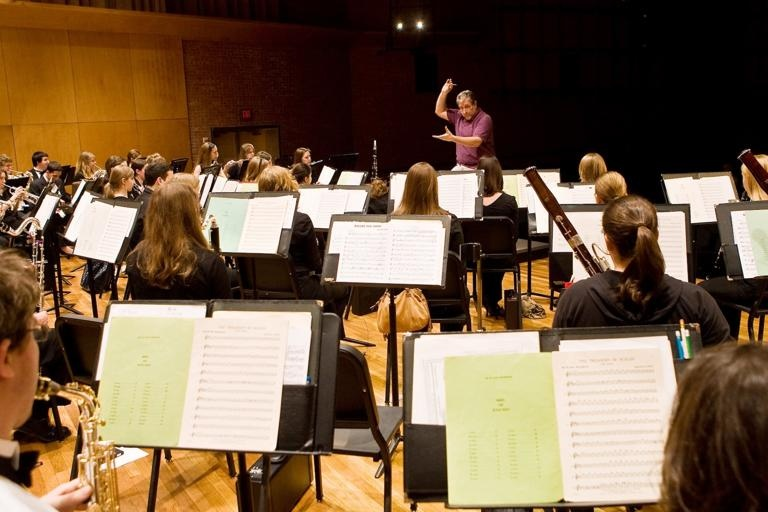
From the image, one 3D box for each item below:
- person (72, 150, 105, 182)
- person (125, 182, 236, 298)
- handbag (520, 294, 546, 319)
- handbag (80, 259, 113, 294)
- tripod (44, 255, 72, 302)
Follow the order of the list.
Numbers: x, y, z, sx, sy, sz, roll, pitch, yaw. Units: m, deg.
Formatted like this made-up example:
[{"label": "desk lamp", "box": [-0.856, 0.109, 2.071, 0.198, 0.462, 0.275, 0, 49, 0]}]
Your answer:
[{"label": "person", "box": [-4.700, -1.447, 10.037, 0.378, 0.492, 0.816, -5, 4, -26]}, {"label": "person", "box": [-1.373, -0.101, 4.180, 0.644, 0.779, 0.317, -4, 4, -19]}, {"label": "handbag", "box": [1.623, 0.567, 7.014, 0.236, 0.155, 0.381, 1, 9, 2]}, {"label": "handbag", "box": [-2.964, 0.207, 6.566, 0.279, 0.204, 0.362, 23, -39, -5]}, {"label": "tripod", "box": [-4.036, 0.288, 7.845, 0.433, 0.459, 0.416, -7, 19, -30]}]
